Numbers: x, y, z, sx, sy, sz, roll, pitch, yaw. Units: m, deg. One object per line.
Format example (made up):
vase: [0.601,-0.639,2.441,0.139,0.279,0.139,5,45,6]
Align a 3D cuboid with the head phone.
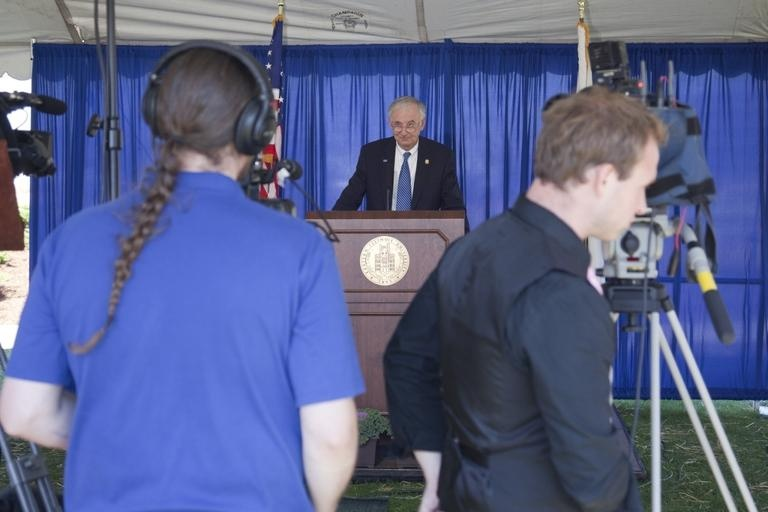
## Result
head phone: [-0.705,-0.641,3.339,0.504,0.437,0.195,7,9,3]

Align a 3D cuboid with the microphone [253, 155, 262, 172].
microphone: [-0.514,-0.377,3.452,0.047,0.051,0.087,6,7,-5]
